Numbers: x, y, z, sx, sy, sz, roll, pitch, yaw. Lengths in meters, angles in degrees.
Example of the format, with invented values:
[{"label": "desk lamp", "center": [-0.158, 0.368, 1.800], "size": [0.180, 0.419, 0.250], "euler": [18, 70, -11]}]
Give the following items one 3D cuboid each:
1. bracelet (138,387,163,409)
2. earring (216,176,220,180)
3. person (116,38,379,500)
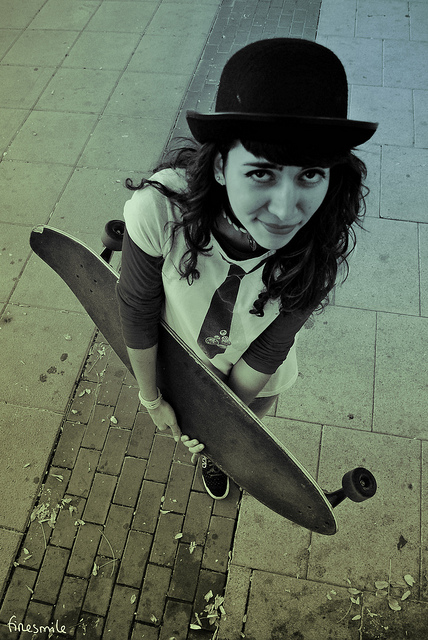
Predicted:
[{"label": "bracelet", "center": [-0.256, 0.324, 2.441], "size": [0.076, 0.091, 0.048], "euler": [-1, 67, 5]}, {"label": "earring", "center": [0.011, -0.410, 1.718], "size": [0.003, 0.014, 0.012], "euler": [-32, 49, -23]}, {"label": "person", "center": [0.080, 0.066, 2.291], "size": [0.750, 2.123, 0.602], "euler": [10, 45, 8]}]
